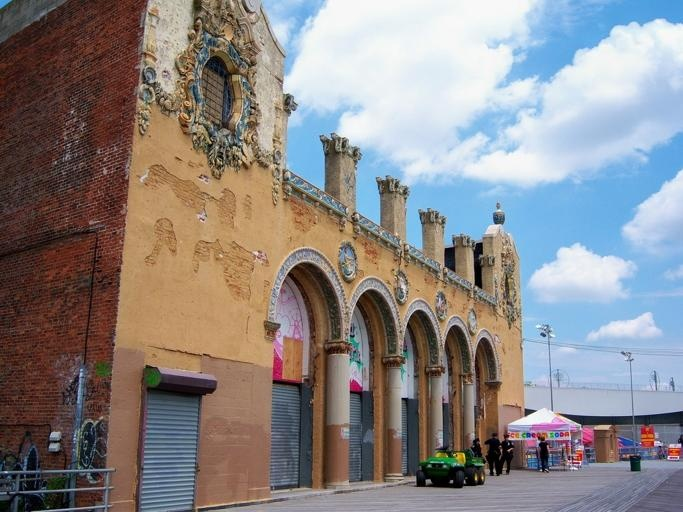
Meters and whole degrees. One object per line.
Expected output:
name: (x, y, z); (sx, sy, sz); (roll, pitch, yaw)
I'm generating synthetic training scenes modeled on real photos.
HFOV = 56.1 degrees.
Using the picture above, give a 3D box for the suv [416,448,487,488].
suv: (4.308, 8.219, 25.013); (1.693, 1.505, 2.750); (-16, -26, 33)

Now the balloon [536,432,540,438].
balloon: (10.370, 9.341, 33.803); (0.244, 0.264, 0.355); (1, -22, -8)
